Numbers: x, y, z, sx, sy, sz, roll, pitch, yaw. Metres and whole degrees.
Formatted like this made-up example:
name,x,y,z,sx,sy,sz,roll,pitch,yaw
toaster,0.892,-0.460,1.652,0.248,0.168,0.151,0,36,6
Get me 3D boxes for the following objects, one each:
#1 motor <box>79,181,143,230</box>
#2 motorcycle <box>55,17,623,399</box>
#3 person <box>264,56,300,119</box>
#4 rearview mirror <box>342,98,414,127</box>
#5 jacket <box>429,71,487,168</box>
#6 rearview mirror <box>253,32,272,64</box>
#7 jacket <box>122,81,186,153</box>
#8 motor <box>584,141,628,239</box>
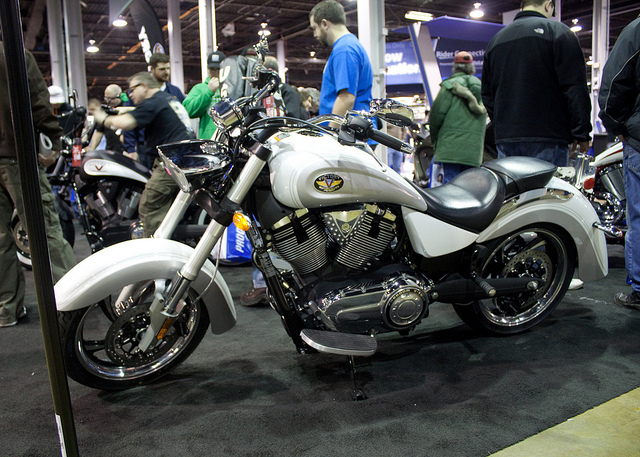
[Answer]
name,x,y,z,sx,sy,sz,roll,pitch,yaw
motor,-2.108,-0.243,4.624,0.612,0.407,0.395,4,10,-4
motorcycle,0.251,-0.001,2.700,3.252,1.677,1.307,-5,14,-13
person,-0.388,-1.501,4.521,0.293,0.817,0.350,14,46,4
rearview mirror,0.289,-0.567,2.247,0.351,0.187,0.096,3,24,-4
jacket,1.508,-1.224,4.981,0.614,1.065,0.491,2,12,19
rearview mirror,-0.297,-0.918,2.274,0.105,0.176,0.069,0,12,11
jacket,-2.136,-1.441,5.803,0.798,0.886,2.294,-6,12,-22
motor,2.986,-0.354,4.675,0.316,1.062,0.495,-3,11,-5
